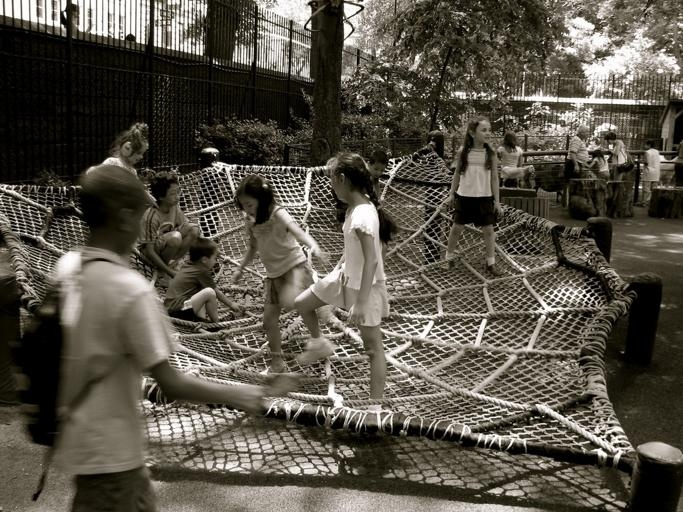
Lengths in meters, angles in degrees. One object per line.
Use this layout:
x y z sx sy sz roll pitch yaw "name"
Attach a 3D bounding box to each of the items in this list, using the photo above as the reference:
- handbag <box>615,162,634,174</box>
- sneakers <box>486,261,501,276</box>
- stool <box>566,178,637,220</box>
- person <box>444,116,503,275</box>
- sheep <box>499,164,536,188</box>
6.847 -2.144 15.995 0.249 0.141 0.351 -26 -6 -1 "handbag"
1.584 0.134 6.774 0.174 0.135 0.077 -13 20 18 "sneakers"
5.344 -1.167 13.616 1.182 0.648 1.210 -3 7 -18 "stool"
1.410 -0.623 6.759 0.561 1.578 0.388 6 10 12 "person"
3.358 -1.473 12.567 0.714 0.513 0.469 8 26 8 "sheep"
